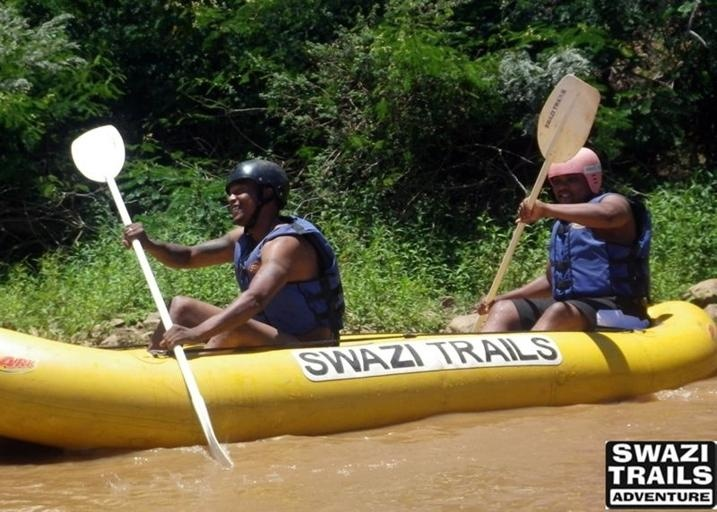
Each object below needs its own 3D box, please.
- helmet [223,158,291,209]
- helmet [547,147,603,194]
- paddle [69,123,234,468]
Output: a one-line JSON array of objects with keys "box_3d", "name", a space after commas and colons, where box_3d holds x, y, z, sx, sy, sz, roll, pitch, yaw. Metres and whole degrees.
[{"box_3d": [-0.780, -0.580, 7.807, 0.478, 0.313, 0.365, -15, 11, -14], "name": "helmet"}, {"box_3d": [1.879, -0.712, 8.356, 0.477, 0.343, 0.363, -21, 10, -4], "name": "helmet"}, {"box_3d": [-1.913, 0.368, 8.898, 0.577, 3.483, 0.285, -19, -22, -21], "name": "paddle"}]
